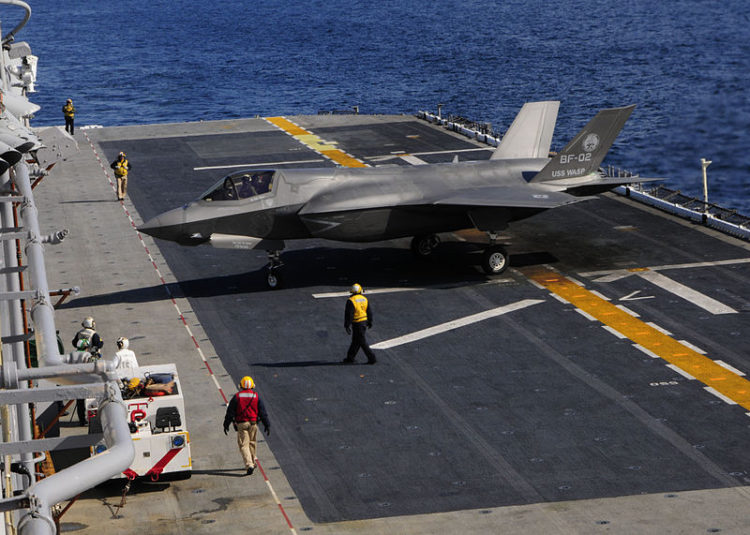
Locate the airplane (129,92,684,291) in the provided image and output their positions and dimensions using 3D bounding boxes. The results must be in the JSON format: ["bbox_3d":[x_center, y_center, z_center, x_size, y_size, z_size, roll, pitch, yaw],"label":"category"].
[{"bbox_3d":[1.184,-2.929,32.294,19.987,3.038,10.286,-4,14,-14],"label":"airplane"}]

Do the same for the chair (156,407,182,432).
[{"bbox_3d":[-4.913,3.603,19.016,0.601,0.473,0.499,-3,27,-11],"label":"chair"}]
